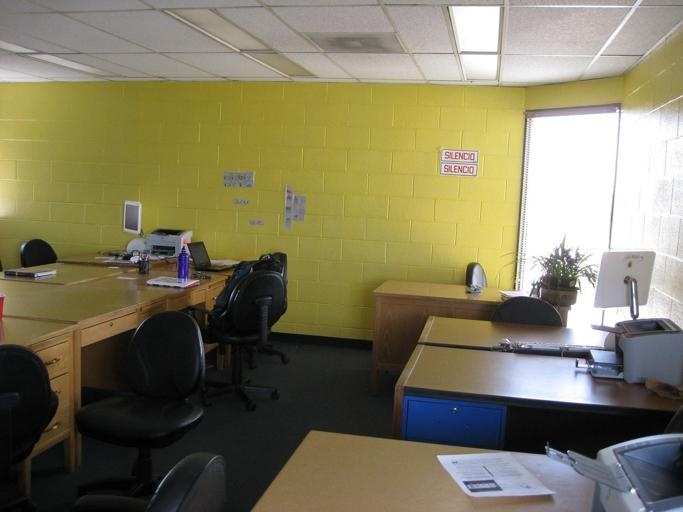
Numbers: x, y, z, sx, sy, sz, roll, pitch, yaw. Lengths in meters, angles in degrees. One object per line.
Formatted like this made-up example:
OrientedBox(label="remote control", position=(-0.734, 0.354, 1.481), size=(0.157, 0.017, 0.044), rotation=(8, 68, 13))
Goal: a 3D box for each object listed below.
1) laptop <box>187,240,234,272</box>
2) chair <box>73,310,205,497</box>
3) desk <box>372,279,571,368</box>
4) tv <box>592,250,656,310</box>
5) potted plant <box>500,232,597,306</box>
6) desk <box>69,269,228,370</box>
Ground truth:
OrientedBox(label="laptop", position=(-1.378, 0.033, 5.538), size=(0.363, 0.229, 0.396), rotation=(1, 6, 10))
OrientedBox(label="chair", position=(-1.093, 0.889, 3.039), size=(0.730, 1.003, 0.687), rotation=(0, 2, 23))
OrientedBox(label="desk", position=(0.853, 0.451, 5.130), size=(1.521, 0.905, 0.743), rotation=(0, 19, 3))
OrientedBox(label="tv", position=(1.983, 0.167, 3.736), size=(0.514, 0.413, 0.052), rotation=(-1, 13, -22))
OrientedBox(label="potted plant", position=(1.925, 0.127, 4.649), size=(0.452, 0.584, 0.444), rotation=(1, 11, -9))
OrientedBox(label="desk", position=(-1.525, 0.573, 3.856), size=(0.669, 0.300, 0.375), rotation=(-25, -2, -2))
